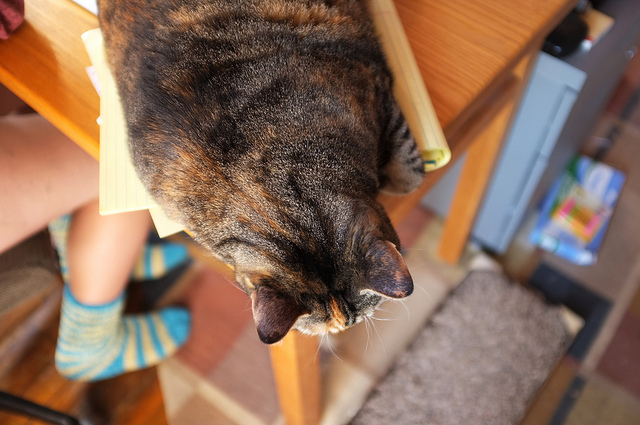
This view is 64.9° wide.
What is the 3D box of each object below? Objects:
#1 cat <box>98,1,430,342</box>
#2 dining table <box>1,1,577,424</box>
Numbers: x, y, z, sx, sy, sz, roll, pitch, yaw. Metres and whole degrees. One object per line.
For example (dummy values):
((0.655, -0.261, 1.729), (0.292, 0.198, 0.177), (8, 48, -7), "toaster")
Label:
((-0.046, -0.051, 1.338), (0.525, 1.058, 0.528), (-17, 13, 6), "cat")
((-0.134, -0.192, 1.891), (1.452, 1.221, 1.123), (43, 79, 8), "dining table")
